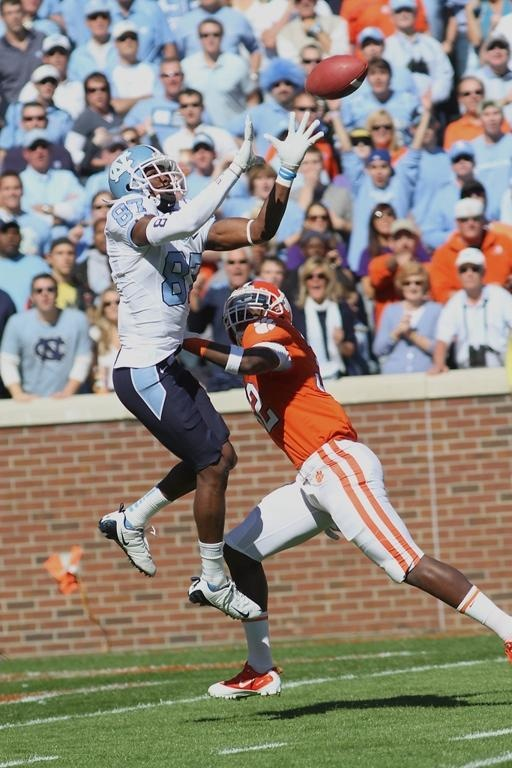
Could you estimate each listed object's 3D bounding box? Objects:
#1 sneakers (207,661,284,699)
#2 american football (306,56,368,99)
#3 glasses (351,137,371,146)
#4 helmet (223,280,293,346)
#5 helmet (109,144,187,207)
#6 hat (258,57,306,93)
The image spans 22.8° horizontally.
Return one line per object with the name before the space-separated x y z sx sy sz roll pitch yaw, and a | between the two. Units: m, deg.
sneakers | -0.040 1.243 5.247 0.353 0.144 0.119 -2 -13 3
american football | 0.339 -1.303 5.404 0.256 0.152 0.188 -27 18 11
glasses | 0.760 -1.713 9.056 0.096 0.037 0.068 -8 -4 26
helmet | 0.029 -0.330 5.432 0.271 0.239 0.332 -4 -16 44
helmet | -0.453 -0.842 5.104 0.305 0.232 0.230 -5 16 35
hat | 0.209 -2.381 9.759 0.366 0.272 0.365 8 15 38
